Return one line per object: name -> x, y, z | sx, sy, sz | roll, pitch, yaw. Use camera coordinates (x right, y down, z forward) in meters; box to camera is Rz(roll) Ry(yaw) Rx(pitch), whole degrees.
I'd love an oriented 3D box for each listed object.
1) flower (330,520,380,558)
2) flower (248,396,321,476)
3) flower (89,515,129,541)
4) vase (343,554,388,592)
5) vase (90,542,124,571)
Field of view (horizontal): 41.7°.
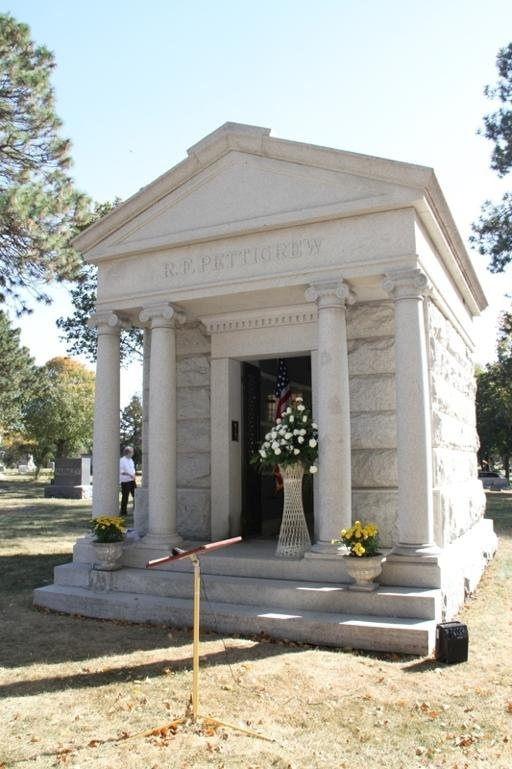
flower -> 1.122, 1.632, 7.094 | 0.401, 0.368, 0.307 | -2, -3, -5
flower -> 0.460, 0.646, 8.420 | 0.867, 0.898, 0.682 | -3, -3, 23
flower -> -2.007, 1.913, 8.926 | 0.391, 0.276, 0.397 | -3, -6, 35
vase -> 1.142, 1.978, 7.076 | 0.404, 0.295, 0.376 | -1, -22, 6
vase -> -1.948, 2.241, 8.862 | 0.430, 0.336, 0.378 | 2, -6, -6
